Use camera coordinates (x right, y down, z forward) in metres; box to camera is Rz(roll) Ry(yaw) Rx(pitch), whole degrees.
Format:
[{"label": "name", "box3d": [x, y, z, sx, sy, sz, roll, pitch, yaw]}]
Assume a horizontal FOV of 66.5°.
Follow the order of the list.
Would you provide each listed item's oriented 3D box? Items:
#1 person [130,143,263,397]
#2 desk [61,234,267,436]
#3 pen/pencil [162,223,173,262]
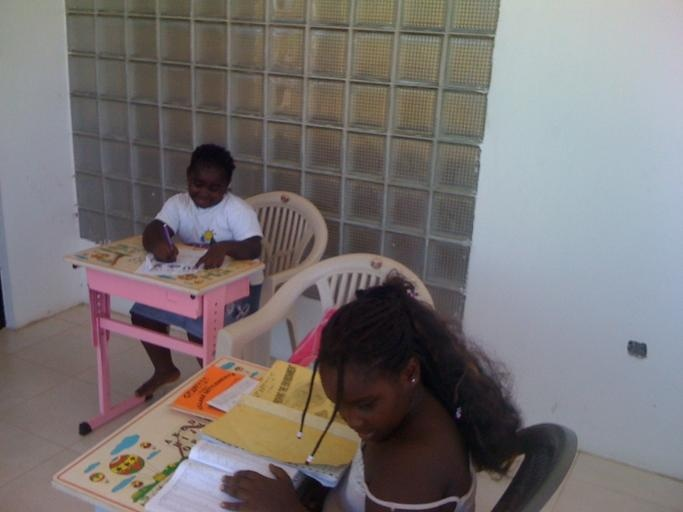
[{"label": "person", "box3d": [-0.657, 0.079, 2.464, 0.538, 1.194, 0.564, 11, 15, 21]}, {"label": "desk", "box3d": [-0.789, 0.421, 2.251, 0.693, 0.789, 0.393, 6, 11, 19]}, {"label": "pen/pencil", "box3d": [-0.740, -0.050, 2.230, 0.025, 0.023, 0.210, -7, 52, -26]}]
